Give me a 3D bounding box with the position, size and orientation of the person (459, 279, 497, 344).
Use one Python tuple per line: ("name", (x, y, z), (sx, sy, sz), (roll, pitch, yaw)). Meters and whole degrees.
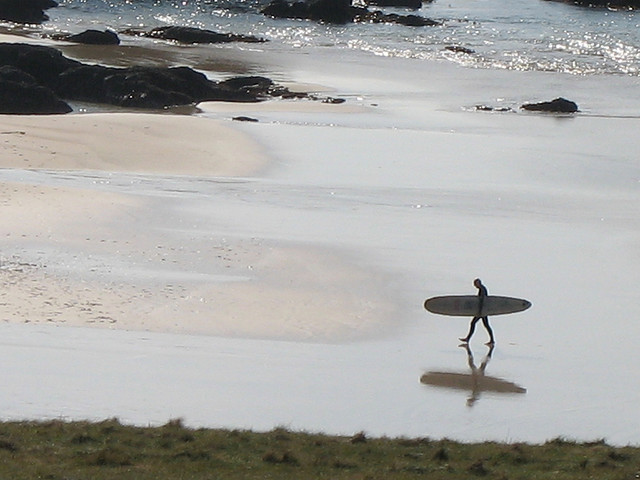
("person", (7.910, 3.516, 76.852), (1.630, 3.240, 0.913), (11, 16, 4))
